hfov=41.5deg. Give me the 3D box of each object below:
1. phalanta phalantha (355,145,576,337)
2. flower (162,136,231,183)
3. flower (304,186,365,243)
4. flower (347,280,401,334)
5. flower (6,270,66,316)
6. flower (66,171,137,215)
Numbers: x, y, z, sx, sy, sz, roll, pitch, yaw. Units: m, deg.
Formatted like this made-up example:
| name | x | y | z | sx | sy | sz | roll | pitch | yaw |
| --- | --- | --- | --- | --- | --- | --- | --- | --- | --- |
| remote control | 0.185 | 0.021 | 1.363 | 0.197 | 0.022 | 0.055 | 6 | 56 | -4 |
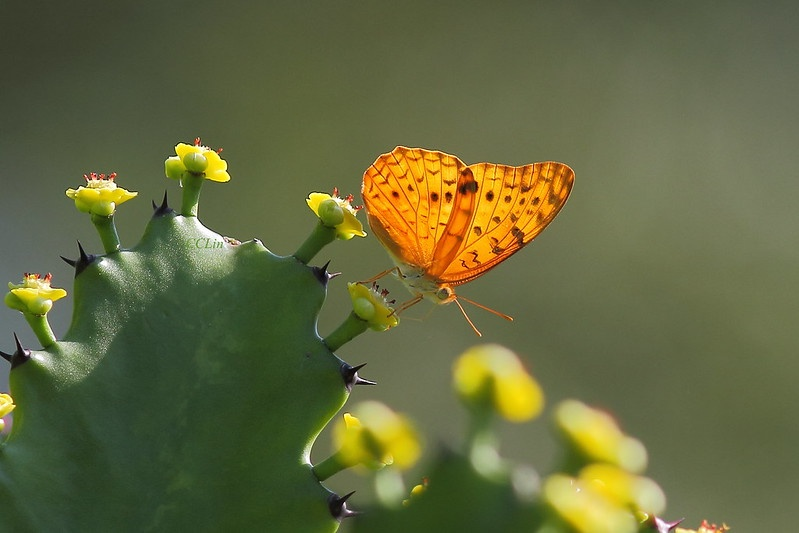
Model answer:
| name | x | y | z | sx | sy | sz | roll | pitch | yaw |
| --- | --- | --- | --- | --- | --- | --- | --- | --- | --- |
| phalanta phalantha | 0.053 | -0.051 | 1.230 | 0.190 | 0.211 | 0.257 | 25 | 19 | 37 |
| flower | -0.199 | -0.103 | 1.036 | 0.068 | 0.035 | 0.063 | 7 | -17 | -18 |
| flower | -0.061 | -0.042 | 1.034 | 0.051 | 0.022 | 0.049 | 40 | 12 | -51 |
| flower | -0.028 | 0.038 | 1.004 | 0.037 | 0.026 | 0.051 | 30 | -14 | 31 |
| flower | -0.344 | 0.028 | 0.988 | 0.044 | 0.032 | 0.043 | -5 | -4 | 32 |
| flower | -0.297 | -0.068 | 1.024 | 0.063 | 0.045 | 0.073 | 4 | 3 | 6 |
